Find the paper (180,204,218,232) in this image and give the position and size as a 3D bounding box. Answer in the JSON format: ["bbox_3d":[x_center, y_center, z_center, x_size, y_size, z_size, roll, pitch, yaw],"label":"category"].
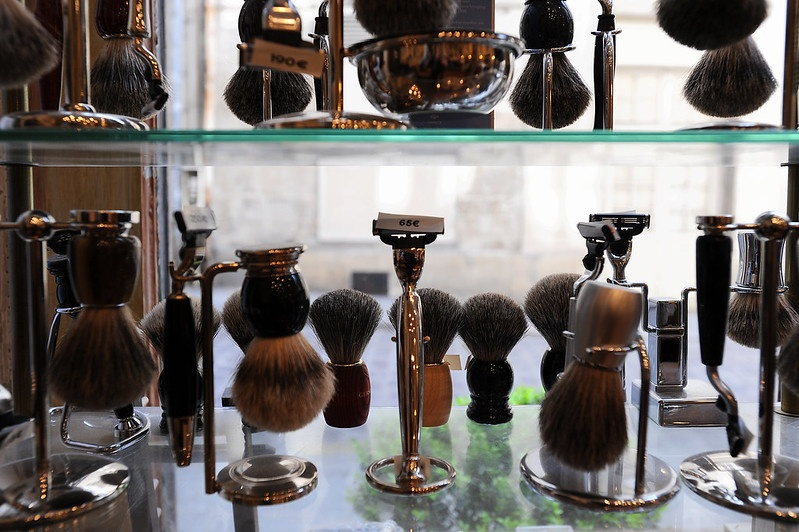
[{"bbox_3d":[-0.315,-0.073,1.593,0.056,0.044,0.033,-5,-18,-44],"label":"paper"}]

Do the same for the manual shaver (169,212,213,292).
[{"bbox_3d":[-0.332,-0.016,1.587,0.052,0.158,0.072,13,10,30],"label":"manual shaver"}]

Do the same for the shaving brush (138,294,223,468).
[{"bbox_3d":[-0.384,0.163,1.792,0.137,0.260,0.156,4,11,20],"label":"shaving brush"}]

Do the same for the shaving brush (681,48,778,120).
[{"bbox_3d":[0.563,-0.316,1.704,0.106,0.205,0.114,2,10,11],"label":"shaving brush"}]

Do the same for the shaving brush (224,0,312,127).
[{"bbox_3d":[-0.235,-0.332,1.781,0.121,0.271,0.118,-2,15,-2],"label":"shaving brush"}]

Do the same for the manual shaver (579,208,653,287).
[{"bbox_3d":[0.361,-0.023,1.679,0.108,0.149,0.126,0,-2,-9],"label":"manual shaver"}]
